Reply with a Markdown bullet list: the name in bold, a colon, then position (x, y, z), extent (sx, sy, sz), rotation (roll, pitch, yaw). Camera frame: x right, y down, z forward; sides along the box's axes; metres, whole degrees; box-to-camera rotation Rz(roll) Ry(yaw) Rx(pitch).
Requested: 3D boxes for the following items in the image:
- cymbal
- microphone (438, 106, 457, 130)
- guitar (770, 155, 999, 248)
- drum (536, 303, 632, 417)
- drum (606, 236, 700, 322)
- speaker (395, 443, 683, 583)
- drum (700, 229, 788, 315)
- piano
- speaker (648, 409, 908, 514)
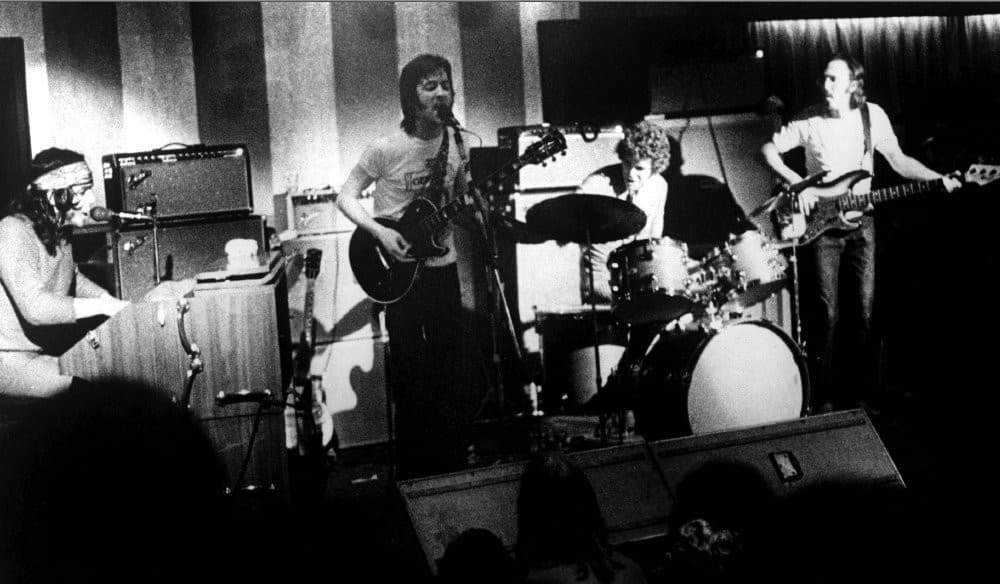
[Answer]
- **cymbal**: position (0.521, -0.443, 5.188), extent (0.657, 0.079, 0.642), rotation (-2, -22, 17)
- **microphone**: position (-0.309, -1.040, 5.250), extent (0.042, 0.097, 0.148), rotation (-25, -22, -15)
- **guitar**: position (2.152, -0.543, 5.595), extent (1.135, 0.544, 0.055), rotation (-4, -1, -7)
- **drum**: position (0.422, 0.387, 5.587), extent (0.822, 0.722, 0.573), rotation (-1, -5, -7)
- **drum**: position (0.934, -0.054, 5.403), extent (0.577, 0.363, 0.539), rotation (0, -25, 0)
- **speaker**: position (0.178, 1.324, 5.125), extent (1.728, 0.713, 0.389), rotation (-11, 1, -4)
- **drum**: position (1.529, -0.133, 5.390), extent (0.626, 0.496, 0.223), rotation (-4, -1, -26)
- **piano**: position (-1.781, 0.416, 5.577), extent (1.186, 1.346, 1.439), rotation (-2, -1, 7)
- **speaker**: position (2.062, 1.088, 5.540), extent (0.925, 0.569, 0.188), rotation (-4, -36, -27)
